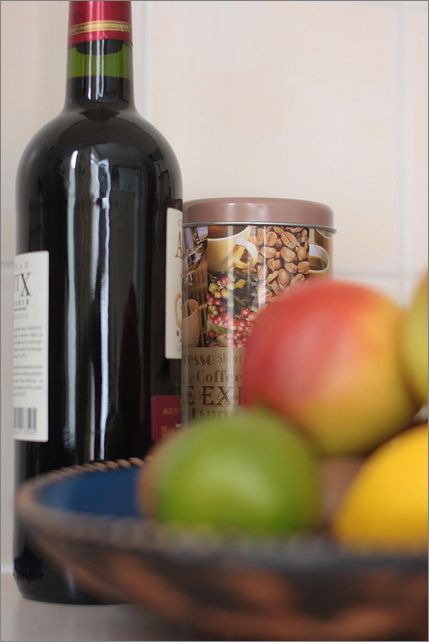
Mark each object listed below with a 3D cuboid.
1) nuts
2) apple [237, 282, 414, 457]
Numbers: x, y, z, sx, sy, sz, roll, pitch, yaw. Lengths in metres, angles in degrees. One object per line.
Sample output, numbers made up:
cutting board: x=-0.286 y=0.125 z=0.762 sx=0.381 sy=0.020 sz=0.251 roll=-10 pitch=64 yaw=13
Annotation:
nuts: x=0.006 y=0.047 z=0.205 sx=0.044 sy=0.025 sz=0.033 roll=16 pitch=55 yaw=23
apple: x=0.047 y=0.017 z=0.266 sx=0.060 sy=0.066 sz=0.062 roll=6 pitch=-2 yaw=-40
